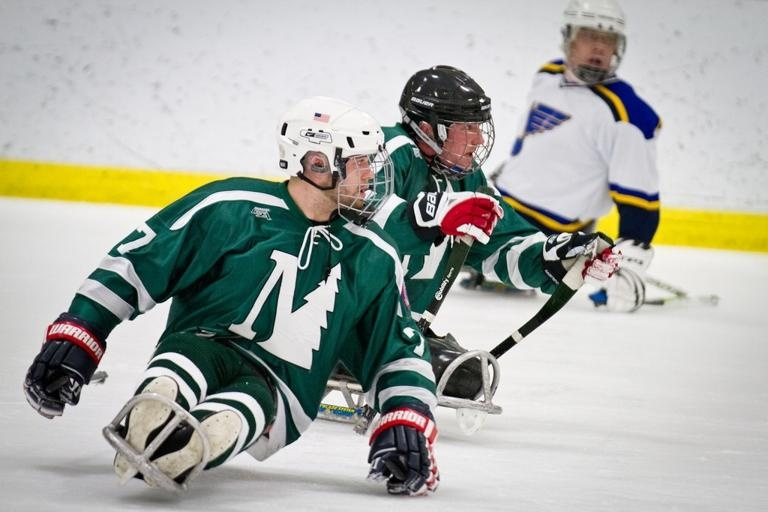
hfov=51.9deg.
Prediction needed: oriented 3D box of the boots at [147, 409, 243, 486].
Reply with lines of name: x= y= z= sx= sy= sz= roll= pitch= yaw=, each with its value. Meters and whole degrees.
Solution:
boots: x=-0.568 y=0.597 z=2.478 sx=0.365 sy=0.147 sz=0.131 roll=-27 pitch=77 yaw=-41

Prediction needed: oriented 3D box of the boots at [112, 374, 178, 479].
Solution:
boots: x=-0.734 y=0.529 z=2.532 sx=0.137 sy=0.364 sz=0.101 roll=30 pitch=-7 yaw=12

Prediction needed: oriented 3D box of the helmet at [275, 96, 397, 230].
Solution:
helmet: x=-0.159 y=-0.391 z=2.933 sx=0.496 sy=0.466 sz=0.340 roll=13 pitch=28 yaw=4

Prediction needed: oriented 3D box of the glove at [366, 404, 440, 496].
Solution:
glove: x=0.108 y=0.641 z=2.806 sx=0.253 sy=0.289 sz=0.302 roll=4 pitch=29 yaw=10

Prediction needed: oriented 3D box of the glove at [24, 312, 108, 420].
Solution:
glove: x=-1.067 y=0.394 z=2.766 sx=0.256 sy=0.335 sz=0.154 roll=30 pitch=-6 yaw=32

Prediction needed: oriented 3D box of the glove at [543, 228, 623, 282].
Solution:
glove: x=0.847 y=-0.006 z=3.417 sx=0.264 sy=0.110 sz=0.215 roll=6 pitch=4 yaw=-2
